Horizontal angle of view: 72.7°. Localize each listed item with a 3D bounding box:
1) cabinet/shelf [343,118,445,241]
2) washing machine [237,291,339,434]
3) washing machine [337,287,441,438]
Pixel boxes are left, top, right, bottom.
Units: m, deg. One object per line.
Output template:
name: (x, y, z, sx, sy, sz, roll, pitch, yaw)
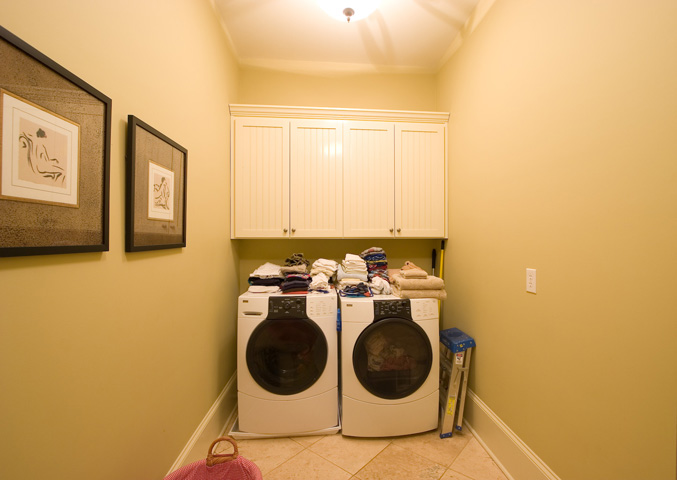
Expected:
cabinet/shelf: (0.407, -0.504, 3.613, 0.910, 1.070, 0.468, 0, -2, -4)
washing machine: (-0.356, 0.866, 3.420, 0.760, 0.950, 0.732, -1, -1, 4)
washing machine: (0.331, 0.870, 3.437, 0.744, 0.983, 0.730, -1, 2, -2)
